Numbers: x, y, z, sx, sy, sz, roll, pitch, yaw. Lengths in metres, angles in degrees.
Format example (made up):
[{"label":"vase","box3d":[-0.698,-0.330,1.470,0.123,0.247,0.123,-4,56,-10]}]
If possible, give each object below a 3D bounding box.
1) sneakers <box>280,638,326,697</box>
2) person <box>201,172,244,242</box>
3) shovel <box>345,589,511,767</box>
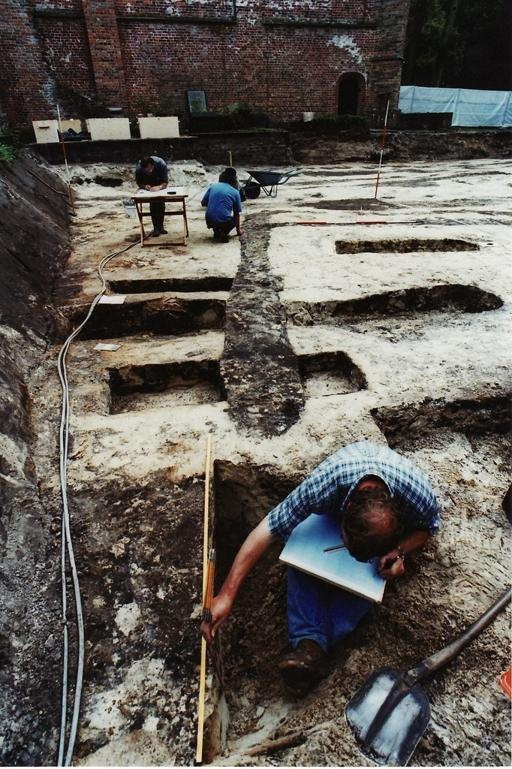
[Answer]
[{"label":"sneakers","box3d":[0.166,1.010,1.973,0.143,0.195,0.075,13,18,-5]},{"label":"person","box3d":[-0.346,-1.711,5.548,0.385,0.684,0.717,-6,41,-3]},{"label":"shovel","box3d":[0.556,0.886,1.849,0.202,0.075,0.709,10,30,41]}]
